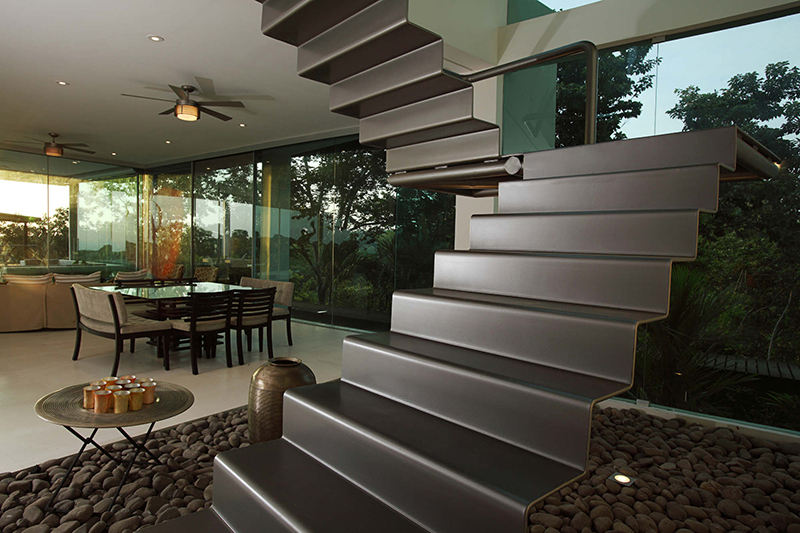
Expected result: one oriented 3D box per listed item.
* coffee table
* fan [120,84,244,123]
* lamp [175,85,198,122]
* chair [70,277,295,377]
[{"bbox_3d":[-2.155,1.152,4.002,1.021,0.662,1.030,6,6,20],"label":"coffee table"},{"bbox_3d":[-2.806,-2.119,6.605,0.918,0.263,0.972,4,2,17],"label":"fan"},{"bbox_3d":[-2.797,-2.130,6.553,0.281,0.426,0.547,-4,13,-21],"label":"lamp"},{"bbox_3d":[-2.782,0.729,6.234,2.392,1.093,0.902,-3,12,-14],"label":"chair"}]
